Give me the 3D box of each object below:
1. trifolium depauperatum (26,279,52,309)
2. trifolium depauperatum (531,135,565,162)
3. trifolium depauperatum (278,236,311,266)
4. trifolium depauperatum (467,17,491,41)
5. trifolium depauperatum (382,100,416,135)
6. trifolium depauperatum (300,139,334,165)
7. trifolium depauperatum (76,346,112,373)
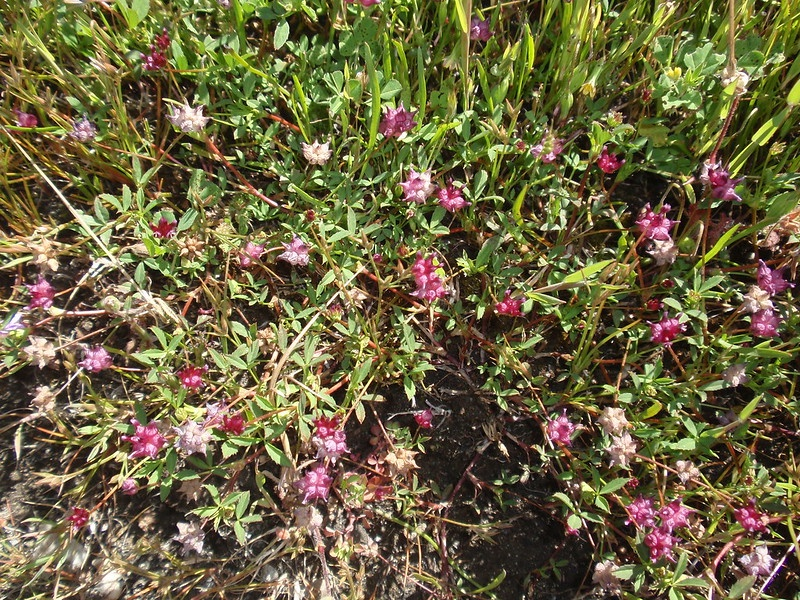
[{"bbox_3d":[-1.383,-0.017,2.487,0.099,0.063,0.109,3,86,-19],"label":"trifolium depauperatum"},{"bbox_3d":[0.576,-0.599,2.557,0.083,0.088,0.083,27,50,-25],"label":"trifolium depauperatum"},{"bbox_3d":[-0.411,-0.186,2.497,0.109,0.080,0.107,-1,60,3],"label":"trifolium depauperatum"},{"bbox_3d":[0.323,-1.096,2.630,0.096,0.053,0.115,8,86,-5],"label":"trifolium depauperatum"},{"bbox_3d":[-0.005,-0.683,2.474,0.117,0.054,0.109,3,91,-4],"label":"trifolium depauperatum"},{"bbox_3d":[-0.327,-0.584,2.562,0.092,0.051,0.115,7,79,-9],"label":"trifolium depauperatum"},{"bbox_3d":[-1.193,0.229,2.574,0.130,0.125,0.087,-1,112,12],"label":"trifolium depauperatum"}]
